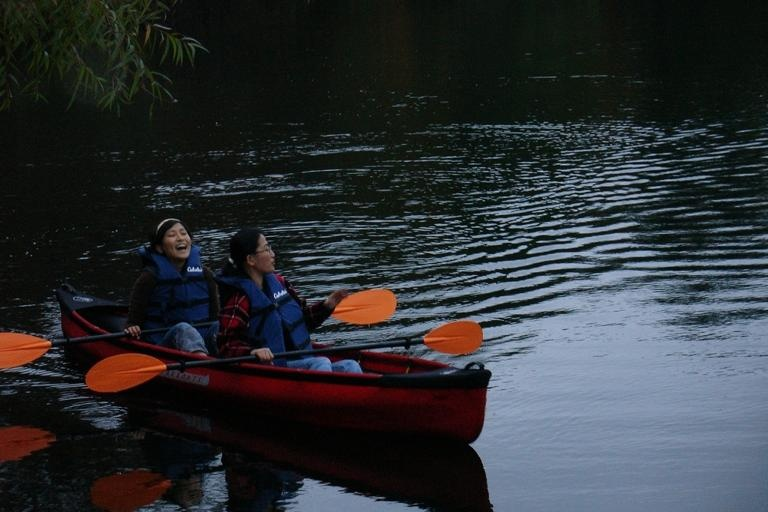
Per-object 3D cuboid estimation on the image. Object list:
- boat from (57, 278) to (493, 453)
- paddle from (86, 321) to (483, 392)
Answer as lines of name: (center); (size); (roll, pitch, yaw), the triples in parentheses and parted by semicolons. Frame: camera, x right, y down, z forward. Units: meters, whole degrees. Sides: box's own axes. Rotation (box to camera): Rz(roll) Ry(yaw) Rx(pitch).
boat: (-1.148, 0.872, 8.336); (5.733, 0.747, 1.112); (5, 7, 19)
paddle: (-0.935, 0.879, 7.927); (4.105, 0.103, 0.407); (-5, 23, 2)
